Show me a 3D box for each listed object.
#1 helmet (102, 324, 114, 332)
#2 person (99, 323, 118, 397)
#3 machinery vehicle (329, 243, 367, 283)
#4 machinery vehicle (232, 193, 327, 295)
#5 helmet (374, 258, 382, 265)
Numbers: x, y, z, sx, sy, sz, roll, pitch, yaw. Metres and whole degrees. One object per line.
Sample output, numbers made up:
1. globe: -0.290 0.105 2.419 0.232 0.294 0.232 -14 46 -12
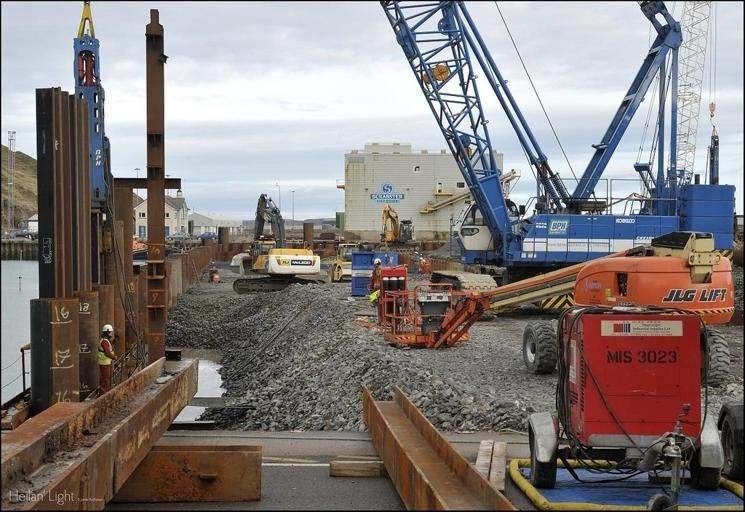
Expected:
1. helmet: -4.578 1.238 14.370 0.149 0.074 0.116 -3 -4 40
2. person: -4.621 1.754 14.434 0.243 1.217 0.953 -1 0 -15
3. machinery vehicle: -1.055 -0.087 36.158 1.266 1.197 2.179 -2 16 -10
4. machinery vehicle: -3.568 -0.421 36.541 3.494 4.966 6.326 -2 6 -24
5. helmet: 0.122 0.126 21.951 0.204 0.194 0.156 18 -29 -34
